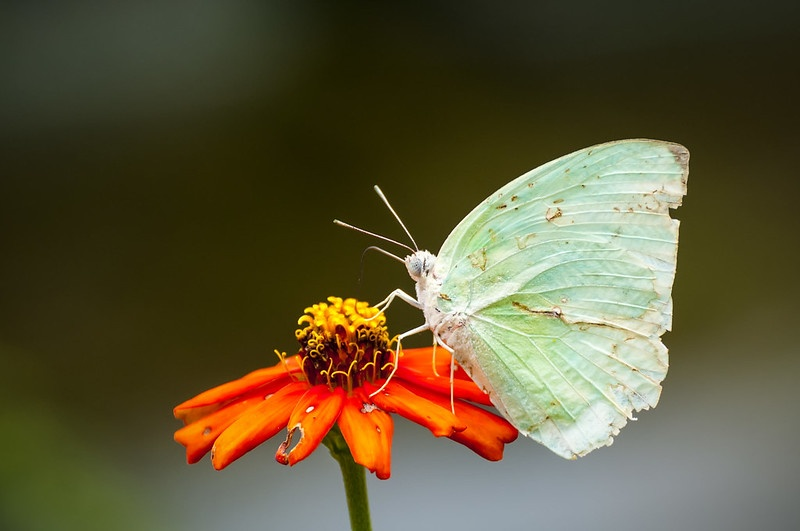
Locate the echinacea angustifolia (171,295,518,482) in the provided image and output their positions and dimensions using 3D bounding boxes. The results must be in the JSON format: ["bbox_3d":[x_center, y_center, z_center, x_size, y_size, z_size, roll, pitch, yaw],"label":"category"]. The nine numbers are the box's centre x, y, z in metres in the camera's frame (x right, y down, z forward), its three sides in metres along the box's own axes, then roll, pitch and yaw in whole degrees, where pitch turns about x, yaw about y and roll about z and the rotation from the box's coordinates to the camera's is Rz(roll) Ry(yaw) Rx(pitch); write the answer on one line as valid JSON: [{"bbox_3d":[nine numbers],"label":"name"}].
[{"bbox_3d":[-0.239,0.438,2.914,1.146,1.039,0.521,1,-79,-31],"label":"echinacea angustifolia"}]
